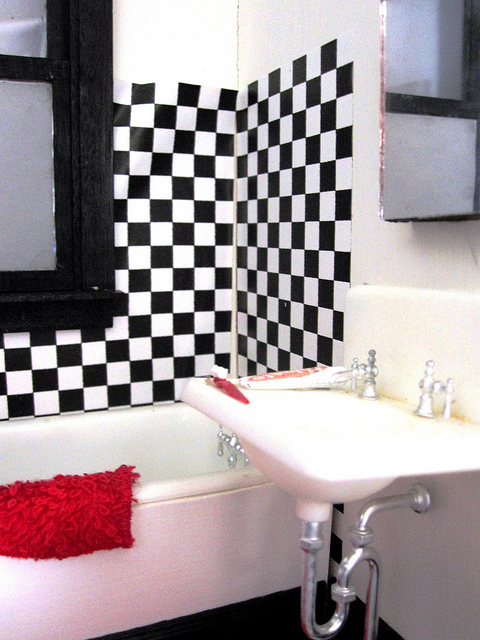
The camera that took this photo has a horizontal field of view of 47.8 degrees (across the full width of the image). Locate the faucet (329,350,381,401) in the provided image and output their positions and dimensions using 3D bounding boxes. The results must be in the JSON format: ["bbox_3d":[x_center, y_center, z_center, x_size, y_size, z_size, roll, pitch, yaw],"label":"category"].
[{"bbox_3d":[0.249,0.120,1.170,0.079,0.124,0.101,-1,-2,-6],"label":"faucet"}]

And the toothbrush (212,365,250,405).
[{"bbox_3d":[-0.027,0.126,1.095,0.028,0.040,0.116,-11,35,-46],"label":"toothbrush"}]
